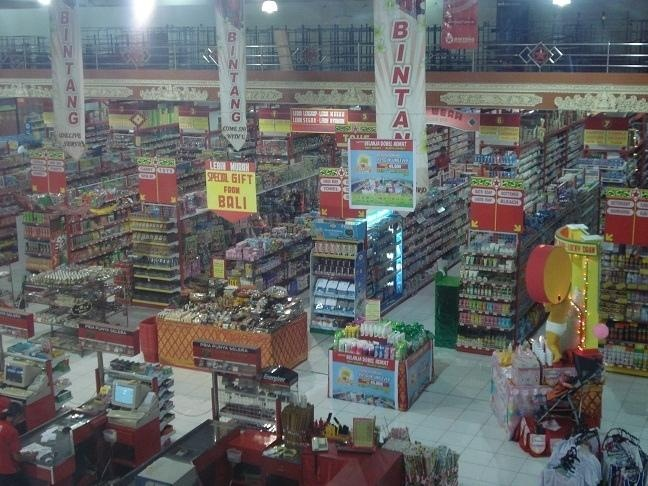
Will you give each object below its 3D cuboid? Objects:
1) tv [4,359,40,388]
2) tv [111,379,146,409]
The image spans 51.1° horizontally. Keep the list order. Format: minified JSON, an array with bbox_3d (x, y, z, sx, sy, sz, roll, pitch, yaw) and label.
[{"bbox_3d":[-4.940,2.126,11.106,0.429,0.369,0.466,6,2,14],"label":"tv"},{"bbox_3d":[-2.959,2.265,10.347,0.483,0.460,0.372,4,2,17],"label":"tv"}]
